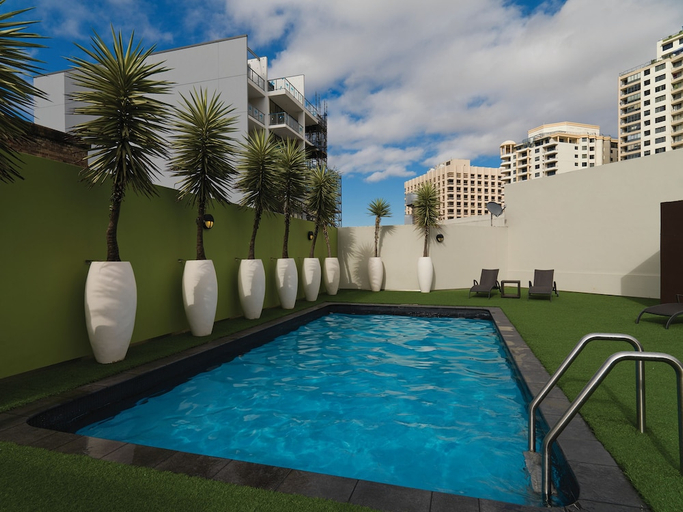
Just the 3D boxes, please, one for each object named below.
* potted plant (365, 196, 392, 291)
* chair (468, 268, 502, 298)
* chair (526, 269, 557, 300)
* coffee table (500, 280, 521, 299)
[{"bbox_3d":[1.465,-0.349,15.222,0.794,3.556,1.269,-1,7,-2],"label":"potted plant"},{"bbox_3d":[4.734,0.985,12.748,0.780,0.789,1.342,-3,5,27],"label":"chair"},{"bbox_3d":[6.289,0.947,12.056,0.808,0.873,1.324,-2,-1,26],"label":"chair"},{"bbox_3d":[5.943,1.278,13.530,0.959,0.742,1.001,-2,-5,13],"label":"coffee table"}]
